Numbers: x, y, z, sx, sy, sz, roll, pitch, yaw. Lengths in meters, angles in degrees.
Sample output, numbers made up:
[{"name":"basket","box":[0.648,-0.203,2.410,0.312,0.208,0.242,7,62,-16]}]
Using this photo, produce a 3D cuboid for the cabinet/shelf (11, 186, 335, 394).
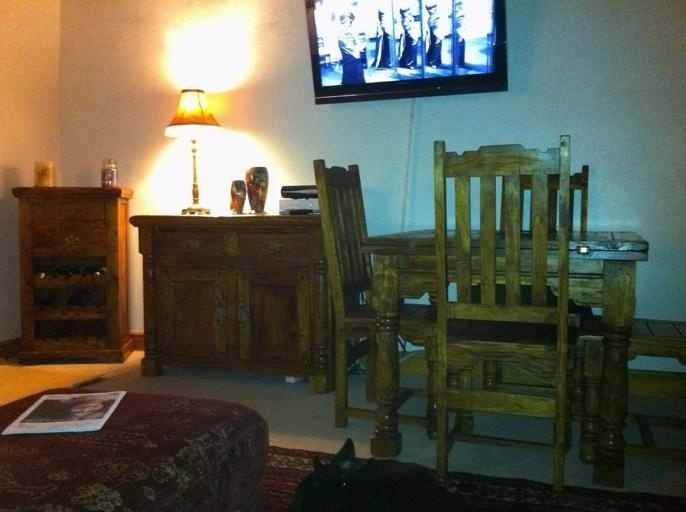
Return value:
[{"name":"cabinet/shelf","box":[-1.098,0.164,3.851,2.198,1.203,0.411,2,10,16]}]

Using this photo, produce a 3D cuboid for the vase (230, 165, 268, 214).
[{"name":"vase","box":[-0.728,-0.432,3.926,0.370,0.316,0.223,4,5,33]}]

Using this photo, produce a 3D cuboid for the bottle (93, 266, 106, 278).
[{"name":"bottle","box":[-1.672,0.108,4.091,0.081,0.053,0.078,0,3,0]}]

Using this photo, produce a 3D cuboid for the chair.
[{"name":"chair","box":[0.836,0.170,3.198,1.706,1.305,1.620,0,3,27]}]

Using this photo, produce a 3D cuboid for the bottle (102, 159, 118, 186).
[{"name":"bottle","box":[-1.639,-0.583,4.170,0.103,0.192,0.281,-4,10,-22]}]
